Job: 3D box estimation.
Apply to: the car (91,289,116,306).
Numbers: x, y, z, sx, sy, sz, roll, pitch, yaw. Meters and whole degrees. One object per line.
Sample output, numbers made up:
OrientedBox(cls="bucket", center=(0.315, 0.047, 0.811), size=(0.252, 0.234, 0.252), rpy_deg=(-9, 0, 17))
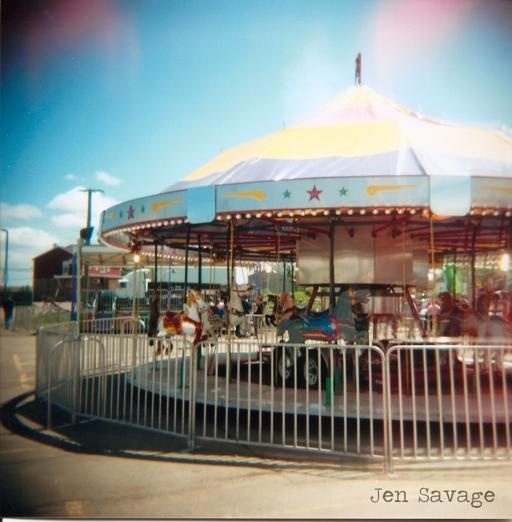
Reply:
OrientedBox(cls="car", center=(-6.431, 1.498, 24.147), size=(0.800, 0.764, 1.920), rpy_deg=(-2, 7, -8))

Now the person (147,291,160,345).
OrientedBox(cls="person", center=(-1.719, 0.980, 9.692), size=(0.131, 0.513, 0.863), rpy_deg=(-11, 23, 1))
